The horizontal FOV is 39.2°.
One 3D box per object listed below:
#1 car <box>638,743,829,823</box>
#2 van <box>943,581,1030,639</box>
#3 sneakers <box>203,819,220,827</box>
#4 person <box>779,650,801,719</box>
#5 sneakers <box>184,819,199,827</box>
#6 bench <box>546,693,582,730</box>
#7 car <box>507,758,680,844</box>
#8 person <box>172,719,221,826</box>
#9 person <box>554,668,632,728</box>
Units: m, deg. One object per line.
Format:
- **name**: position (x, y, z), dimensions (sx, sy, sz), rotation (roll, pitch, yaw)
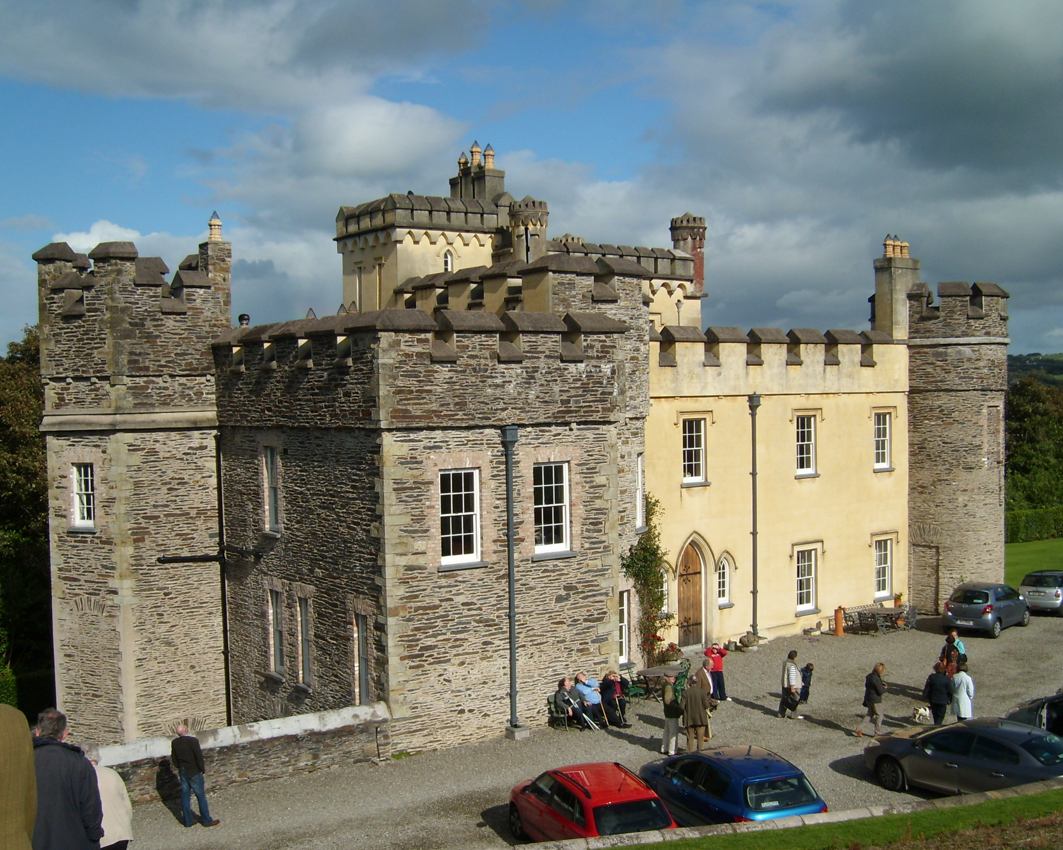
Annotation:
- **car**: position (4.147, 7.549, 31.632), dimensions (1.629, 1.375, 2.821), rotation (1, 3, -29)
- **van**: position (14.568, 5.850, 47.743), dimensions (2.329, 1.062, 1.382), rotation (-5, 4, -45)
- **sneakers**: position (-6.963, 8.652, 32.637), dimensions (0.284, 0.193, 0.096), rotation (-18, 30, -15)
- **person**: position (6.760, 6.656, 39.126), dimensions (0.682, 1.882, 1.016), rotation (-4, 11, 10)
- **sneakers**: position (-7.365, 8.631, 32.618), dimensions (0.175, 0.125, 0.270), rotation (0, 12, 30)
- **bench**: position (0.806, 7.224, 37.666), dimensions (0.809, 1.030, 0.849), rotation (-3, -4, 32)
- **car**: position (1.036, 7.661, 30.736), dimensions (1.594, 1.350, 2.754), rotation (-1, 5, -27)
- **person**: position (-7.464, 7.586, 32.965), dimensions (0.776, 2.172, 1.497), rotation (-9, 11, -15)
- **person**: position (1.524, 6.888, 37.699), dimensions (2.402, 1.252, 1.078), rotation (7, -2, -32)
